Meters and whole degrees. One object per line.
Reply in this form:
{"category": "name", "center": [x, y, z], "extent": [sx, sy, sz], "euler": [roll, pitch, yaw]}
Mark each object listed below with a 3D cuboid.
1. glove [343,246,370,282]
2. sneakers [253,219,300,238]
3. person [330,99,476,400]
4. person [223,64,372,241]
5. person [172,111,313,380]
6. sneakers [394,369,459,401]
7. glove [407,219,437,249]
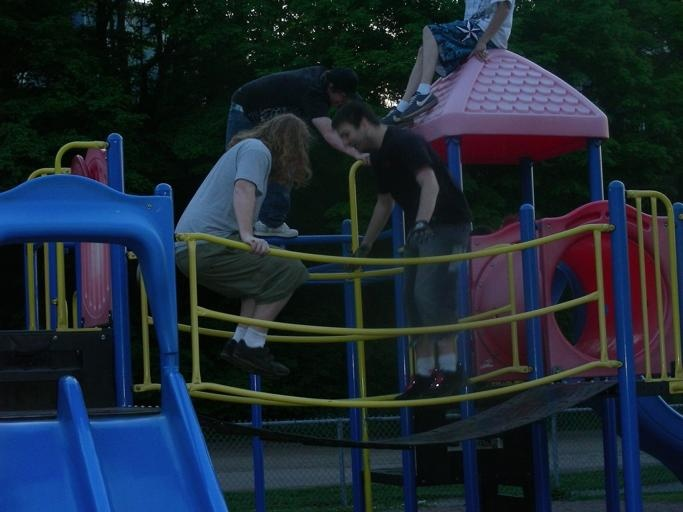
{"category": "glove", "center": [0.163, 0.055, 12.179], "extent": [0.171, 0.301, 0.124], "euler": [29, 2, -32]}
{"category": "sneakers", "center": [-0.684, -0.290, 12.987], "extent": [0.509, 0.210, 0.167], "euler": [1, 0, -18]}
{"category": "person", "center": [0.637, -0.051, 11.823], "extent": [1.169, 2.726, 0.873], "euler": [5, 8, 10]}
{"category": "person", "center": [-0.432, -1.091, 13.410], "extent": [1.559, 1.714, 1.118], "euler": [-3, 8, 0]}
{"category": "person", "center": [-0.876, -0.111, 11.283], "extent": [1.217, 2.341, 0.887], "euler": [2, 8, -10]}
{"category": "sneakers", "center": [0.762, 1.208, 11.752], "extent": [0.682, 0.261, 0.230], "euler": [-3, -6, 4]}
{"category": "glove", "center": [0.725, -0.187, 11.453], "extent": [0.217, 0.274, 0.213], "euler": [4, 8, 2]}
